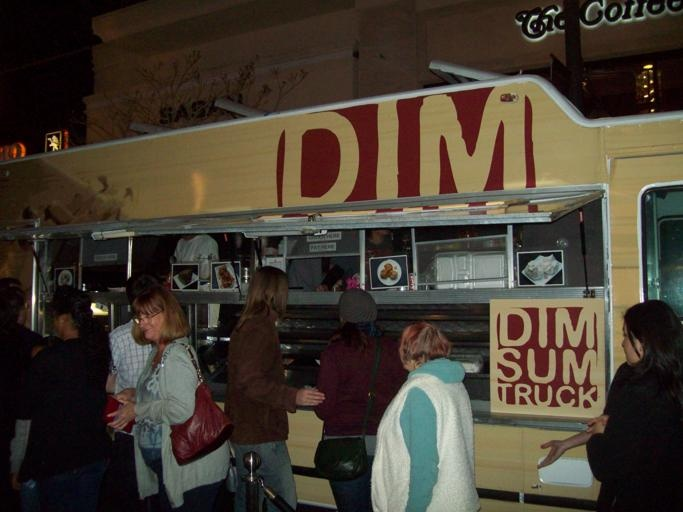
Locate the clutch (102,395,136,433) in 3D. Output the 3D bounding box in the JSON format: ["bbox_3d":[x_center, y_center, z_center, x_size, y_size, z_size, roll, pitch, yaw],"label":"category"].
[{"bbox_3d":[-1.773,1.280,4.973,0.122,0.322,0.316,-16,40,-18],"label":"clutch"}]

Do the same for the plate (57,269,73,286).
[{"bbox_3d":[-3.260,0.255,7.290,0.150,0.166,0.037,5,-11,10],"label":"plate"}]

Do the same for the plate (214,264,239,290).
[{"bbox_3d":[-1.231,0.209,6.457,0.263,0.274,0.068,-2,-4,19],"label":"plate"}]

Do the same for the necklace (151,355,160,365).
[{"bbox_3d":[-1.468,0.821,4.888,0.064,0.075,0.077,5,1,-4],"label":"necklace"}]

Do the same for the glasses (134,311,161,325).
[{"bbox_3d":[-1.525,0.470,4.820,0.129,0.044,0.139,-11,3,22],"label":"glasses"}]

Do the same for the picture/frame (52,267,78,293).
[{"bbox_3d":[-3.073,0.261,6.873,0.260,0.276,0.062,0,-4,24],"label":"picture/frame"}]

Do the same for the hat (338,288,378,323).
[{"bbox_3d":[0.137,0.394,4.833,0.226,0.222,0.273,-4,13,-18],"label":"hat"}]
